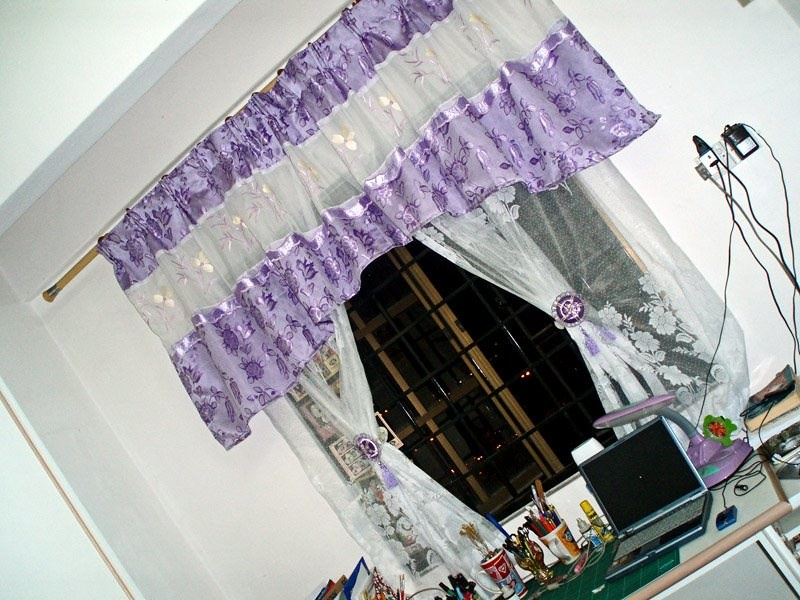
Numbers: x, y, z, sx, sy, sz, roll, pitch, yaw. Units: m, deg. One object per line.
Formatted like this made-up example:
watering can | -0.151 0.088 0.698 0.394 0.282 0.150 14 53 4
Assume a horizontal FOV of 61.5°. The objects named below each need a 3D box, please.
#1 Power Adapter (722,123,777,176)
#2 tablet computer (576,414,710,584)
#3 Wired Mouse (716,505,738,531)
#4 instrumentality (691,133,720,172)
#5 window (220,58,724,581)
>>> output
Power Adapter | 1.524 -0.672 2.952 0.123 0.182 0.055 -37 -6 13
tablet computer | 0.924 0.756 2.608 0.439 0.376 0.339 -40 -15 29
Wired Mouse | 1.197 0.797 2.451 0.104 0.042 0.069 -41 -17 5
instrumentality | 1.361 -0.657 2.988 0.110 0.161 0.046 -33 -1 23
window | 0.558 0.229 3.446 1.821 1.791 0.210 -36 7 45
